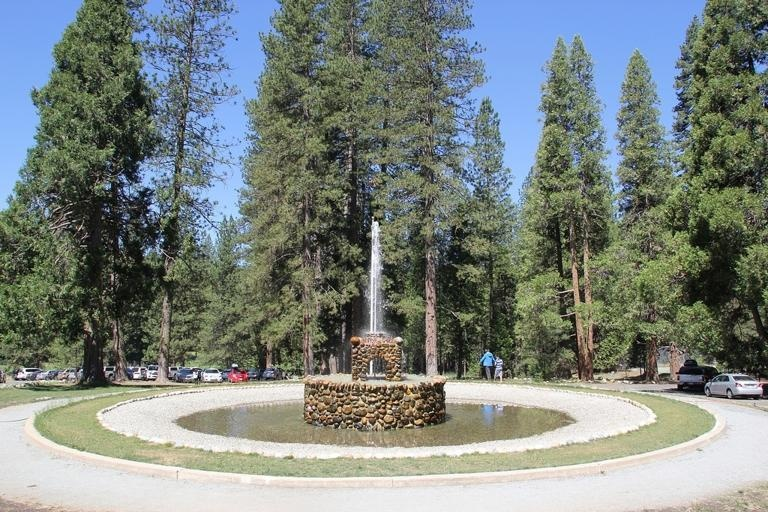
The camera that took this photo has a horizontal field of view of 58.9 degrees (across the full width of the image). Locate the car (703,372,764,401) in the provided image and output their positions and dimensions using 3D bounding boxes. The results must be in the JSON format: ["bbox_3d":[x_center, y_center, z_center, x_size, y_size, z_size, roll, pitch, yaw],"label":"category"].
[{"bbox_3d":[20.555,7.734,40.444,1.363,1.054,2.957,1,-8,3],"label":"car"}]

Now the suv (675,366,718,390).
[{"bbox_3d":[20.779,8.031,45.355,1.484,1.328,3.419,-3,-5,28],"label":"suv"}]
